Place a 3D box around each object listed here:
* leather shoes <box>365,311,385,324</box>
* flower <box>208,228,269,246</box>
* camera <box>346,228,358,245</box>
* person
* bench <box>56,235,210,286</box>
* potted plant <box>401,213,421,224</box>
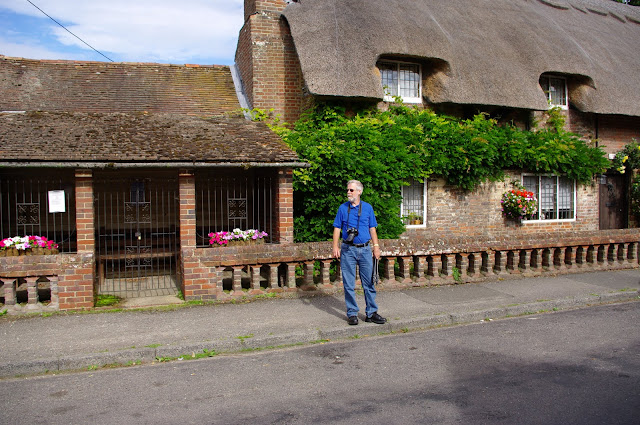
[{"bbox_3d":[1.215,2.313,14.542,0.443,0.196,0.205,0,0,5],"label":"leather shoes"},{"bbox_3d":[-2.110,0.624,16.765,0.975,0.278,0.641,-2,1,-15],"label":"flower"},{"bbox_3d":[0.693,0.512,14.392,0.242,0.313,0.150,11,-6,11],"label":"camera"},{"bbox_3d":[0.833,0.880,14.599,1.057,2.551,0.479,-3,-1,0],"label":"person"},{"bbox_3d":[-5.184,1.202,18.801,2.417,1.042,2.720,-3,0,-5],"label":"bench"},{"bbox_3d":[2.911,0.204,20.733,0.512,0.337,0.431,1,-1,-10],"label":"potted plant"}]
